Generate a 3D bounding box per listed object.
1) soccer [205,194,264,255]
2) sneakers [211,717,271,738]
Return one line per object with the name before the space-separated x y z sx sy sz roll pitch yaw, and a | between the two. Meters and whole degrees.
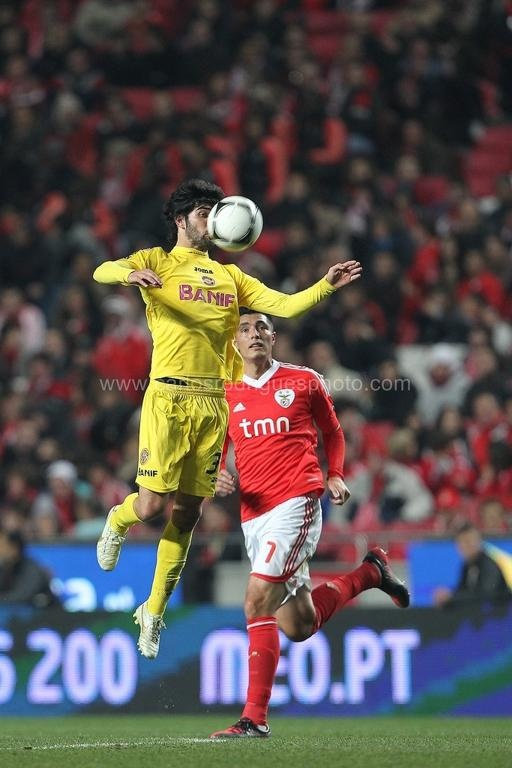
soccer | -0.106 -0.793 5.333 0.325 0.285 0.264 2 91 1
sneakers | -0.055 1.583 4.993 0.288 0.095 0.084 5 64 -12
